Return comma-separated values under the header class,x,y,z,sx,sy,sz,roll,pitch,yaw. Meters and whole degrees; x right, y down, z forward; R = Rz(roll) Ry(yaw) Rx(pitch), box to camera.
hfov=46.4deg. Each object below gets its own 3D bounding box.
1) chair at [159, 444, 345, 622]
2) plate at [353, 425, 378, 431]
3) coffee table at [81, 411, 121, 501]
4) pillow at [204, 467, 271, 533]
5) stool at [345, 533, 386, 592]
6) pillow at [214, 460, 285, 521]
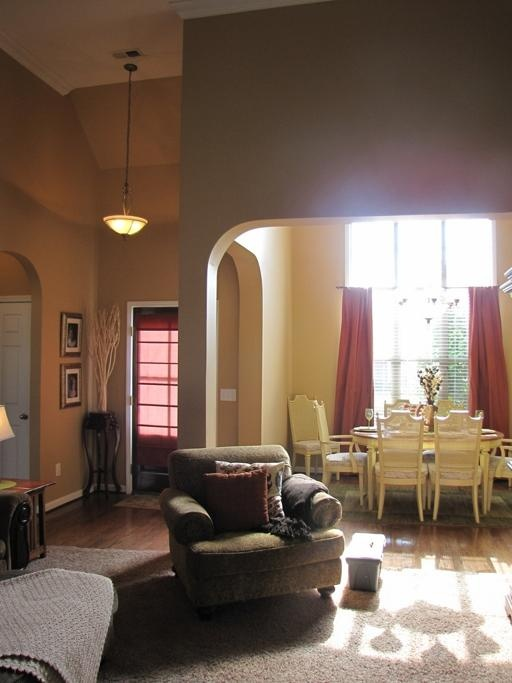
class,x,y,z,sx,sy,sz,roll,pitch,yaw
chair,-0.030,1.047,3.538,1.180,0.696,1.162,0,0,23
plate,1.054,0.867,5.854,0.212,0.034,0.318,0,-2,10
coffee table,-1.525,1.106,5.877,0.327,0.827,0.371,1,-2,7
pillow,-0.122,0.928,3.460,0.358,0.361,0.137,-4,-46,-2
stool,0.680,1.376,3.702,0.215,0.206,0.417,0,0,18
pillow,-0.050,0.881,3.472,0.272,0.240,0.099,-3,-11,-10
